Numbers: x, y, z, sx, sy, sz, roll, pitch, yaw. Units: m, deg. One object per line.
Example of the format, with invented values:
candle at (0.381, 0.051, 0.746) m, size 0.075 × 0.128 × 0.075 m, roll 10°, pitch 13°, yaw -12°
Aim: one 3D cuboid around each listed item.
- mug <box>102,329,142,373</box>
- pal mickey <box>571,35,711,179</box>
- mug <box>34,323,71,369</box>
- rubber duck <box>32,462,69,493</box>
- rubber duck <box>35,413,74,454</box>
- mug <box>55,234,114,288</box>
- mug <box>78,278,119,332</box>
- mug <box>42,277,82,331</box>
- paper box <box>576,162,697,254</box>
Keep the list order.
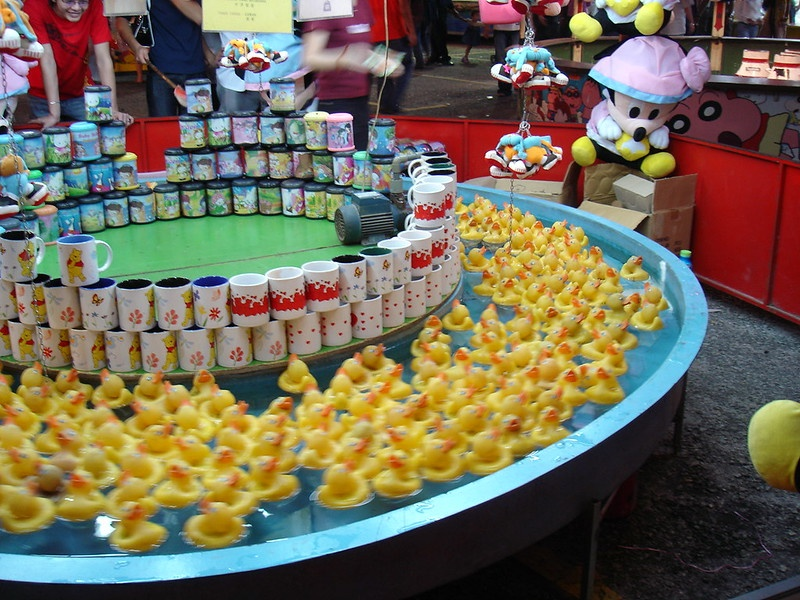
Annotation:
mug at (-1.069, 0.199, 2.397) m, size 0.145 × 0.146 × 0.137 m, roll 2°, pitch -2°, yaw 6°
pal mickey at (1.944, -1.470, 4.935) m, size 0.932 × 1.161 × 0.704 m, roll 10°, pitch 27°, yaw 26°
mug at (-1.328, 0.171, 2.446) m, size 0.129 × 0.141 × 0.161 m, roll -2°, pitch 7°, yaw 10°
rubber duck at (-0.971, 0.494, 1.737) m, size 0.079 × 0.087 × 0.076 m, roll -6°, pitch -7°, yaw 8°
rubber duck at (-1.068, 0.433, 1.938) m, size 0.141 × 0.081 × 0.130 m, roll 6°, pitch 13°, yaw -22°
mug at (-1.184, -0.151, 2.358) m, size 0.204 × 0.160 × 0.122 m, roll -7°, pitch 18°, yaw -29°
mug at (-1.149, -0.004, 2.390) m, size 0.138 × 0.176 × 0.204 m, roll -2°, pitch 25°, yaw -19°
mug at (-1.301, 0.014, 2.384) m, size 0.105 × 0.159 × 0.167 m, roll -3°, pitch 13°, yaw -20°
paper box at (1.822, -0.927, 4.614) m, size 0.789 × 0.603 × 0.881 m, roll -30°, pitch 40°, yaw -25°
